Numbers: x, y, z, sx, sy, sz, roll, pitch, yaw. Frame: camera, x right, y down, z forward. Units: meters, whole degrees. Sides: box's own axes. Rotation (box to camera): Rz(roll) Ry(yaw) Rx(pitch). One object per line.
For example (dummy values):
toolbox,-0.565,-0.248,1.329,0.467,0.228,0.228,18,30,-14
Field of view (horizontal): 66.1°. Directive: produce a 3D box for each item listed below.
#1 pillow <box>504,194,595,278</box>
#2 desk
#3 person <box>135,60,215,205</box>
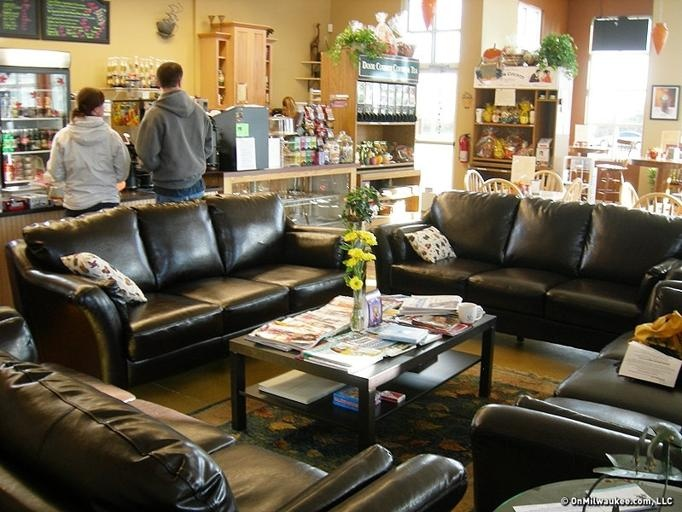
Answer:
pillow,1.687,-0.145,4.248,0.675,0.569,0.245,13,-5,39
desk,0.174,0.657,3.135,0.956,0.439,1.331,5,11,36
person,-1.367,-1.026,4.376,0.394,1.127,0.614,6,16,22
